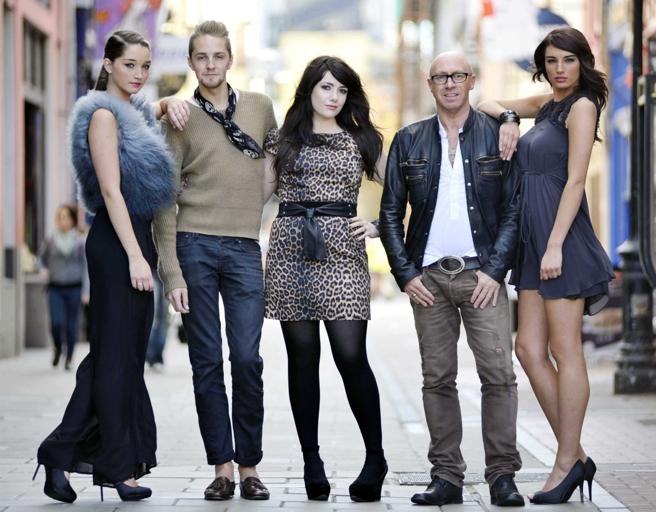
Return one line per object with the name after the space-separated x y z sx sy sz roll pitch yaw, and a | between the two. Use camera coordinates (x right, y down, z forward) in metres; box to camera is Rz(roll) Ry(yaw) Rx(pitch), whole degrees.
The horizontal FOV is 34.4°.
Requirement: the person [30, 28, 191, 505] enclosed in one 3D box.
-1.330 0.066 6.668 0.904 2.958 0.372 -2 2 -10 | person

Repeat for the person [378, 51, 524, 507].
0.791 0.129 6.803 0.859 2.877 0.507 -1 2 10 | person

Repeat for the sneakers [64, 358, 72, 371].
-3.366 1.430 13.796 0.107 0.136 0.218 5 -4 -10 | sneakers

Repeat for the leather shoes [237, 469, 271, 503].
-0.468 1.465 6.780 0.183 0.176 0.212 -2 2 -7 | leather shoes

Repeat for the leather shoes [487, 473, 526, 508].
1.114 1.472 6.602 0.211 0.191 0.151 -1 2 10 | leather shoes

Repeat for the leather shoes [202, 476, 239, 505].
-0.677 1.484 6.733 0.221 0.141 0.159 -3 3 -24 | leather shoes

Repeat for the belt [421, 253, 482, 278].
0.797 0.072 6.797 0.354 0.132 0.068 -2 2 6 | belt

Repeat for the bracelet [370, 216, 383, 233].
0.327 -0.203 6.978 0.053 0.088 0.036 -5 -16 26 | bracelet

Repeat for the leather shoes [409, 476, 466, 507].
0.701 1.508 6.746 0.370 0.207 0.142 8 -15 -27 | leather shoes

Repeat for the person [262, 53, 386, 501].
-0.018 0.140 6.881 0.786 2.854 0.444 -1 2 3 | person

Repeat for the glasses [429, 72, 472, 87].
0.776 -1.126 6.767 0.236 0.080 0.044 -2 2 10 | glasses
